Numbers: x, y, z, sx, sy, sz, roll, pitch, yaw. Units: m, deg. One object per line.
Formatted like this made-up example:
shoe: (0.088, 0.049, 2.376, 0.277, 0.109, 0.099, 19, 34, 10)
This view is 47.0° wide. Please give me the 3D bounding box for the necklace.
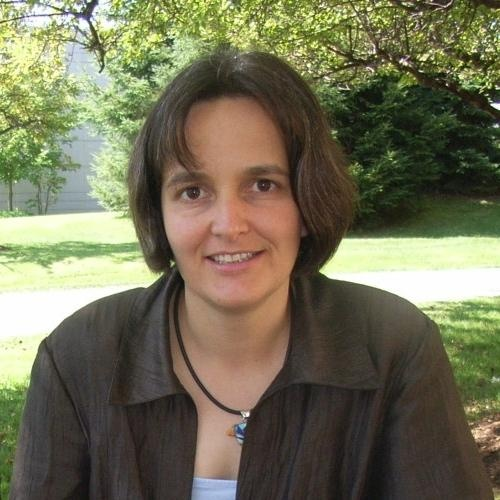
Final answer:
necklace: (-0.059, 0.437, 2.169, 0.452, 0.571, 0.059, -5, -11, 8)
